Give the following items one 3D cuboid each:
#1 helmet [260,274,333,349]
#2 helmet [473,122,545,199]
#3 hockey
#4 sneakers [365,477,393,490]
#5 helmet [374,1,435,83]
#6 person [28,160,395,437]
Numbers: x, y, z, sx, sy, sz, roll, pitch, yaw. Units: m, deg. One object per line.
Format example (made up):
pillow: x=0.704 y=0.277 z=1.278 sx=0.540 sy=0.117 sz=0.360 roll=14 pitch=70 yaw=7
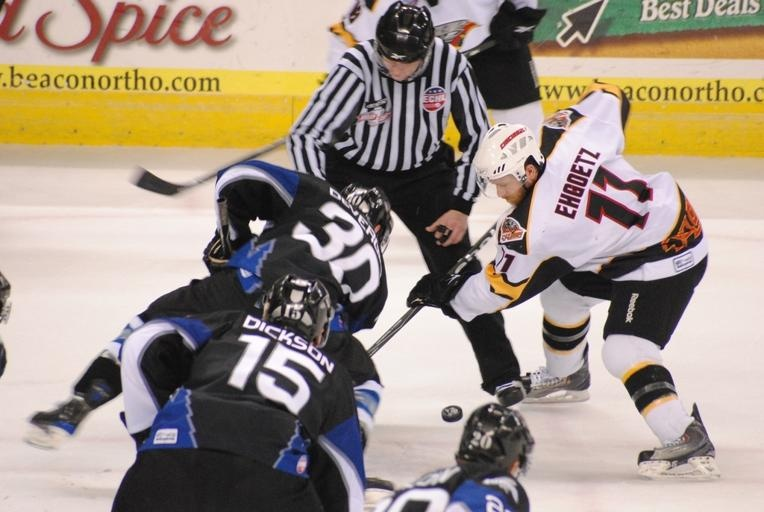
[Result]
helmet: x=-0.429 y=0.266 z=6.046 sx=0.380 sy=0.370 sz=0.362 roll=11 pitch=1 yaw=3
helmet: x=0.746 y=-0.559 z=6.595 sx=0.412 sy=0.345 sz=0.305 roll=-21 pitch=15 yaw=-6
hockey: x=-0.487 y=-1.028 z=8.134 sx=2.494 sy=0.293 sz=0.396 roll=-28 pitch=-15 yaw=-3
sneakers: x=-0.004 y=1.285 z=6.430 sx=0.176 sy=0.074 sz=0.052 roll=6 pitch=7 yaw=6
helmet: x=0.112 y=-1.271 z=6.994 sx=0.360 sy=0.434 sz=0.433 roll=11 pitch=-17 yaw=-2
person: x=-1.045 y=0.489 z=6.814 sx=2.130 sy=1.273 sz=0.704 roll=-44 pitch=-1 yaw=-16
